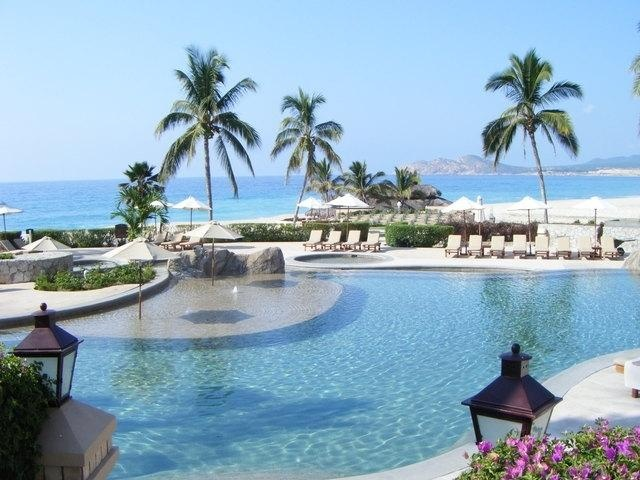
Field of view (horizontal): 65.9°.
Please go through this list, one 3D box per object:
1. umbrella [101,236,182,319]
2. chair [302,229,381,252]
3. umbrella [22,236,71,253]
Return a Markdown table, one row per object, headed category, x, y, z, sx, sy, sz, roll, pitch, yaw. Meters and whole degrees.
| category | x | y | z | sx | sy | sz | roll | pitch | yaw |
| --- | --- | --- | --- | --- | --- | --- | --- | --- | --- |
| umbrella | -4.522 | 0.893 | 12.539 | 1.791 | 1.792 | 1.707 | 4 | 1 | 7 |
| chair | 1.270 | 0.073 | 25.353 | 3.664 | 0.911 | 1.873 | 1 | 7 | 9 |
| umbrella | -8.934 | 0.176 | 16.171 | 1.317 | 0.447 | 0.638 | 3 | 7 | 18 |
